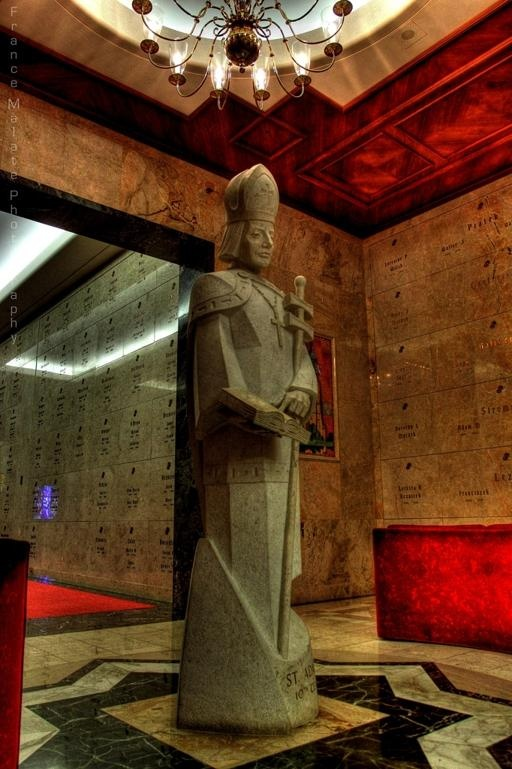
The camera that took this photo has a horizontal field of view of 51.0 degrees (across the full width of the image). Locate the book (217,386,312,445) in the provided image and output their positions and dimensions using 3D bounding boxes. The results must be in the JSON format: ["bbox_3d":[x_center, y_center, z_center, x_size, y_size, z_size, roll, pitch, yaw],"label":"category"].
[{"bbox_3d":[0.026,0.123,2.028,0.242,0.183,0.379,-7,-12,34],"label":"book"}]

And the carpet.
[{"bbox_3d":[-1.877,2.357,5.872,1.147,0.197,2.433,4,-11,-22],"label":"carpet"}]

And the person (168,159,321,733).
[{"bbox_3d":[-0.029,0.116,2.104,0.526,2.198,0.551,-1,-11,4],"label":"person"}]
